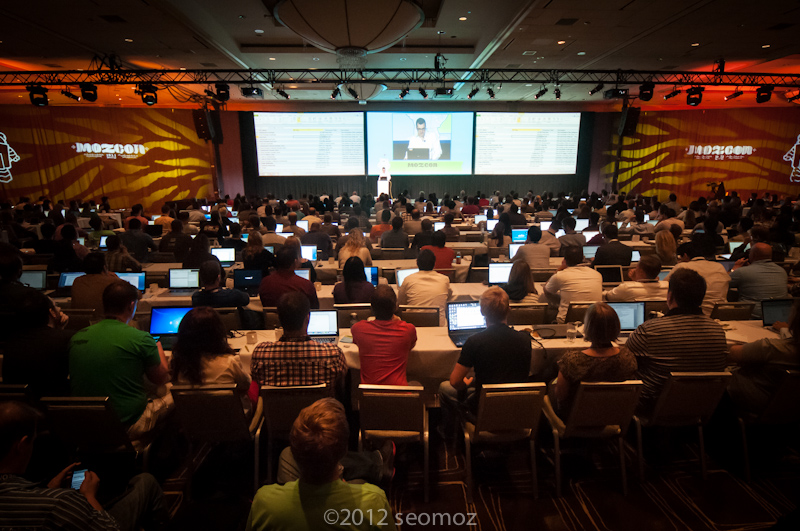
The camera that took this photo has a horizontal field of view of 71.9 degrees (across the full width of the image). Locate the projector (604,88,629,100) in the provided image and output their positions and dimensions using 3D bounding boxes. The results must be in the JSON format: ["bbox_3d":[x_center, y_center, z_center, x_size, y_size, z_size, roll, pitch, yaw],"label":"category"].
[{"bbox_3d":[6.621,-5.246,16.755,0.636,0.261,1.120,-1,10,1],"label":"projector"}]

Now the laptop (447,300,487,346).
[{"bbox_3d":[0.814,0.682,6.992,0.646,0.481,0.469,-1,26,-6],"label":"laptop"}]

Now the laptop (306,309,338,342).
[{"bbox_3d":[-0.966,0.757,7.018,0.465,0.343,0.329,1,9,-4],"label":"laptop"}]

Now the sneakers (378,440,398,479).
[{"bbox_3d":[-0.100,2.042,5.838,0.133,0.416,0.257,5,-16,-27],"label":"sneakers"}]

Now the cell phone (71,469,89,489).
[{"bbox_3d":[-3.068,2.040,5.267,0.189,0.169,0.043,1,-17,9],"label":"cell phone"}]

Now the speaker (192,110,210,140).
[{"bbox_3d":[-6.375,-4.606,17.915,0.514,0.844,0.256,0,42,-6],"label":"speaker"}]

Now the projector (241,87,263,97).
[{"bbox_3d":[-4.317,-5.107,16.122,0.482,0.219,0.664,2,20,-4],"label":"projector"}]

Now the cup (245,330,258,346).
[{"bbox_3d":[-1.802,0.891,6.792,0.154,0.153,0.156,1,18,0],"label":"cup"}]

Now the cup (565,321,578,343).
[{"bbox_3d":[2.113,0.845,6.871,0.197,0.185,0.162,10,21,33],"label":"cup"}]

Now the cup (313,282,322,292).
[{"bbox_3d":[-1.285,0.335,8.735,0.098,0.101,0.147,-1,13,-2],"label":"cup"}]
